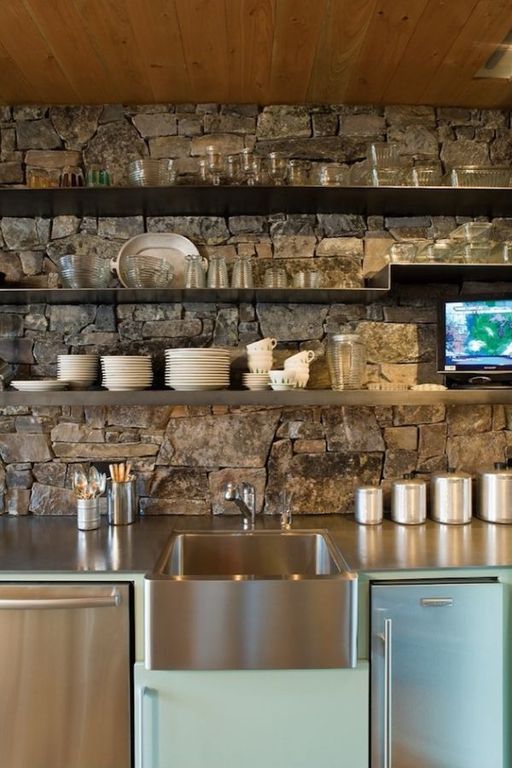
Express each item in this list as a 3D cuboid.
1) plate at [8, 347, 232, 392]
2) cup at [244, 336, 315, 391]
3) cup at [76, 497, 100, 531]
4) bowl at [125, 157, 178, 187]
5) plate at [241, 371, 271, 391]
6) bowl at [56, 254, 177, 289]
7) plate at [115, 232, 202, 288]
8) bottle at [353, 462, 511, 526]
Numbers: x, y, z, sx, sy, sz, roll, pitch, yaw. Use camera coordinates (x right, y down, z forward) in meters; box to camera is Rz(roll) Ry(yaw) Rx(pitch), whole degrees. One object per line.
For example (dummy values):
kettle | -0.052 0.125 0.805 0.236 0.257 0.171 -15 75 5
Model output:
plate | -0.503 -0.020 2.834 0.828 0.263 0.153 0 87 1
cup | 0.060 -0.068 2.829 0.277 0.144 0.136 1 87 -17
cup | -0.591 0.462 2.739 0.107 0.101 0.101 0 84 -1
bowl | -0.373 -0.751 2.807 0.127 0.144 0.061 0 89 -2
plate | -0.001 -0.007 2.827 0.077 0.074 0.040 1 89 13
bowl | -0.508 -0.399 2.828 0.294 0.176 0.087 -1 93 -5
plate | -0.387 -0.513 2.967 0.300 0.056 0.221 -6 89 -17
bottle | 0.558 0.404 2.893 0.717 0.205 0.233 0 88 7
